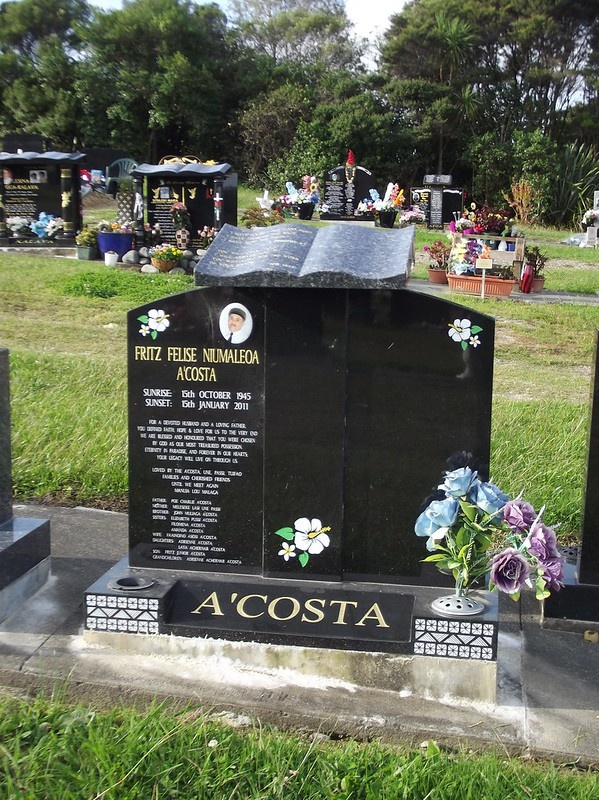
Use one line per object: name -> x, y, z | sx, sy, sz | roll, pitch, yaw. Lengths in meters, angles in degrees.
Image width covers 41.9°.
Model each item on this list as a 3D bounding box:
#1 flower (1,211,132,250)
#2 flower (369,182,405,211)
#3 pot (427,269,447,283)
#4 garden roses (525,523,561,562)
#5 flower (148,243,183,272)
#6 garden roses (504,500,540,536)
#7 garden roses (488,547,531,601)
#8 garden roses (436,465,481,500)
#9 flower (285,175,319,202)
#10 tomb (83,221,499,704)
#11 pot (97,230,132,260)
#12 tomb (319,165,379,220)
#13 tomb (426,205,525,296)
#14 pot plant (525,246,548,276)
flower -> -5.081, -3.540, 16.772 | 2.100, 0.484, 1.375 | 0, 18, -4
flower -> 2.826, -6.463, 24.773 | 0.831, 1.165, 2.251 | 5, 6, 8
pot -> 2.836, -2.531, 15.937 | 0.326, 0.171, 0.315 | 0, 7, 0
garden roses -> 0.933, 0.544, 3.028 | 0.152, 0.137, 0.092 | 20, -15, -8
flower -> -2.447, -2.603, 14.514 | 0.563, 0.364, 0.536 | 6, 25, 9
garden roses -> 0.858, 0.452, 3.048 | 0.141, 0.128, 0.083 | 14, -9, -4
garden roses -> 0.801, 0.667, 2.995 | 0.154, 0.226, 0.130 | 4, 6, -2
garden roses -> 0.644, 0.328, 3.202 | 0.146, 0.089, 0.138 | -19, 18, 21
flower -> 0.166, -6.864, 25.425 | 0.867, 1.030, 1.772 | 5, 6, 5
tomb -> 0.021, 0.185, 3.407 | 1.728, 1.833, 0.649 | 5, 6, 11
pot -> -3.582, -3.090, 15.529 | 0.656, 0.437, 0.563 | 2, 20, 4
tomb -> 1.737, -7.612, 28.690 | 1.782, 1.998, 1.033 | 4, 6, -1
tomb -> 3.573, -2.921, 15.507 | 1.848, 1.628, 2.380 | 8, 31, 14
pot plant -> 4.837, -2.864, 16.150 | 0.396, 0.627, 0.965 | 6, 6, 13
